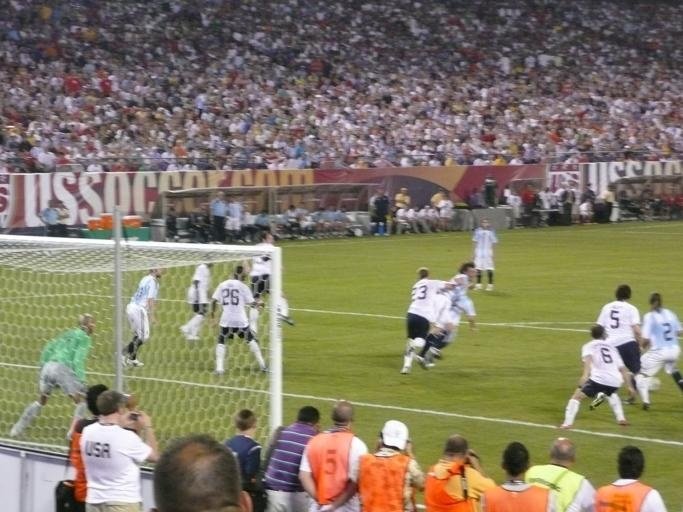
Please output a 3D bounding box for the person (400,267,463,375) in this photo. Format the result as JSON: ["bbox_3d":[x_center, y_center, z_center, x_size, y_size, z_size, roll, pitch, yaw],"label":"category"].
[{"bbox_3d":[2.108,1.583,35.711,1.093,2.538,0.500,1,1,0],"label":"person"}]

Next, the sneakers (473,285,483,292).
[{"bbox_3d":[4.122,0.942,43.410,0.253,0.107,0.286,2,8,15],"label":"sneakers"}]

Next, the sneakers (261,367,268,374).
[{"bbox_3d":[-1.750,2.678,34.464,0.122,0.166,0.468,1,1,-11],"label":"sneakers"}]

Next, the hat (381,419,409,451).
[{"bbox_3d":[1.116,3.510,28.910,0.537,0.287,0.655,9,0,2],"label":"hat"}]

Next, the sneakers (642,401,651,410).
[{"bbox_3d":[7.086,3.445,33.866,0.166,0.188,0.182,1,1,6],"label":"sneakers"}]

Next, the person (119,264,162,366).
[{"bbox_3d":[-4.766,1.452,35.131,0.707,2.257,1.144,2,1,11],"label":"person"}]

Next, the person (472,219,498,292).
[{"bbox_3d":[4.287,-0.022,43.317,0.645,2.051,1.340,2,1,6],"label":"person"}]

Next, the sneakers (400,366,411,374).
[{"bbox_3d":[1.623,2.766,35.688,0.202,0.173,0.181,8,33,2],"label":"sneakers"}]

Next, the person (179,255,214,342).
[{"bbox_3d":[-3.426,1.107,35.114,0.660,1.799,1.234,1,1,-5],"label":"person"}]

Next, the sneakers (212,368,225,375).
[{"bbox_3d":[-2.749,2.650,33.715,0.177,0.088,0.153,-3,6,-19],"label":"sneakers"}]
